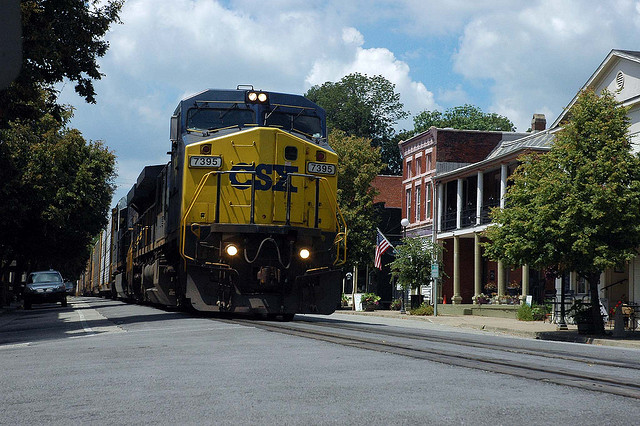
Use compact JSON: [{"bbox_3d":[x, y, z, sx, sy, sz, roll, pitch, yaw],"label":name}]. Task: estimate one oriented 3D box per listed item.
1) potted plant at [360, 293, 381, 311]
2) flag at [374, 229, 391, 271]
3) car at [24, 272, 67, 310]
[{"bbox_3d":[3.268,5.881,39.596,1.088,1.073,0.904,1,-11,-1],"label":"potted plant"},{"bbox_3d":[3.605,2.101,35.802,0.641,2.236,1.397,2,-11,-3],"label":"flag"},{"bbox_3d":[-15.630,4.230,34.283,1.524,1.400,3.047,1,-11,-15],"label":"car"}]
